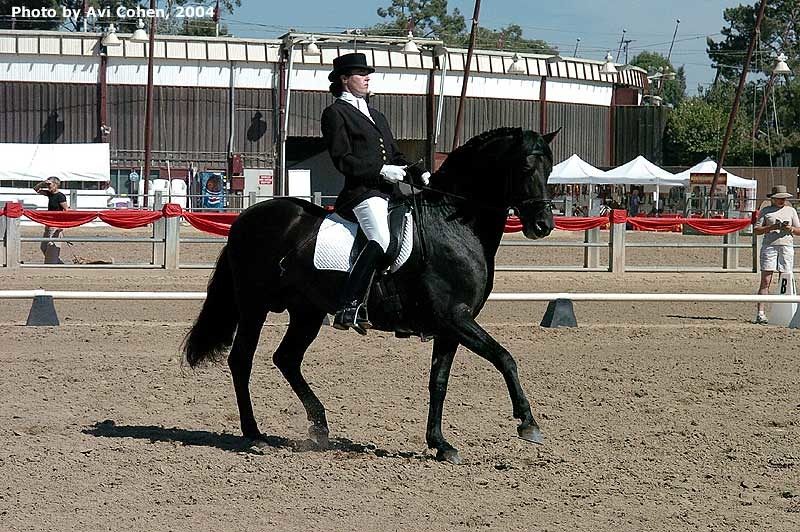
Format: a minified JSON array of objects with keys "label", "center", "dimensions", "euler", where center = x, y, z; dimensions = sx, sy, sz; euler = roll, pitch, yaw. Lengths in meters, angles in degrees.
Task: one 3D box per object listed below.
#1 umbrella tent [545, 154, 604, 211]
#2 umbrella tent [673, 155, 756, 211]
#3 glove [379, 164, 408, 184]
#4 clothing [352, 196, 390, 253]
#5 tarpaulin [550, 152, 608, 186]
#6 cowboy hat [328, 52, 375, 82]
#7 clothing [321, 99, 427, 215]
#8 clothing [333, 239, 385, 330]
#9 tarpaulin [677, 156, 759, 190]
[{"label":"umbrella tent","center":[7.023,-3.803,49.317],"dimensions":[3.250,1.864,3.393],"euler":[0,-1,6]},{"label":"umbrella tent","center":[13.527,-3.807,51.093],"dimensions":[2.887,1.548,3.075],"euler":[4,-1,0]},{"label":"glove","center":[-0.110,-1.572,20.497],"dimensions":[0.448,0.291,0.228],"euler":[0,6,-10]},{"label":"clothing","center":[-0.383,-0.880,20.762],"dimensions":[0.264,0.691,1.130],"euler":[-22,40,-6]},{"label":"tarpaulin","center":[7.030,-3.810,49.192],"dimensions":[3.069,1.496,3.207],"euler":[0,1,3]},{"label":"cowboy hat","center":[-0.863,-3.429,20.664],"dimensions":[0.589,0.254,0.506],"euler":[-9,1,2]},{"label":"clothing","center":[-0.534,-2.059,20.830],"dimensions":[1.383,2.200,1.435],"euler":[-14,-12,41]},{"label":"clothing","center":[-0.697,0.340,20.506],"dimensions":[0.810,1.555,0.338],"euler":[1,6,-9]},{"label":"tarpaulin","center":[13.486,-3.801,51.026],"dimensions":[2.023,0.939,2.106],"euler":[3,-3,0]}]
